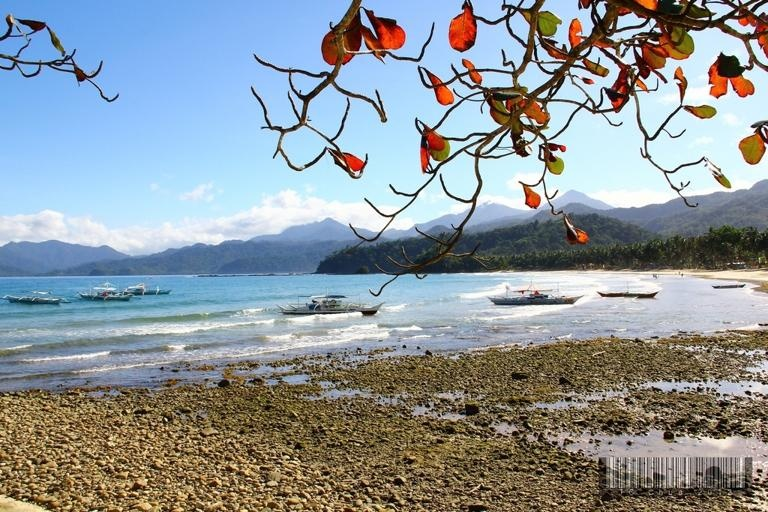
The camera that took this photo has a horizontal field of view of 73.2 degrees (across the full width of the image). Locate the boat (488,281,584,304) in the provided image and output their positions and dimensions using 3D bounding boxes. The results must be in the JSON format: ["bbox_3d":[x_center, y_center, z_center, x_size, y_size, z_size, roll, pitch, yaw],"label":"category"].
[{"bbox_3d":[17.975,4.200,60.617,11.211,2.501,2.820,-1,3,11],"label":"boat"}]

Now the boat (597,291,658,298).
[{"bbox_3d":[24.427,3.774,51.669,4.260,0.546,0.999,-2,-1,35],"label":"boat"}]

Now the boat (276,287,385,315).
[{"bbox_3d":[-4.452,3.981,41.463,6.236,1.859,7.440,-4,-3,-22],"label":"boat"}]

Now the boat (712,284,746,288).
[{"bbox_3d":[40.088,3.422,59.841,4.546,0.395,1.934,-2,-4,-42],"label":"boat"}]

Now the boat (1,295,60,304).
[{"bbox_3d":[-45.311,5.454,65.770,6.261,0.891,1.931,1,10,4],"label":"boat"}]
